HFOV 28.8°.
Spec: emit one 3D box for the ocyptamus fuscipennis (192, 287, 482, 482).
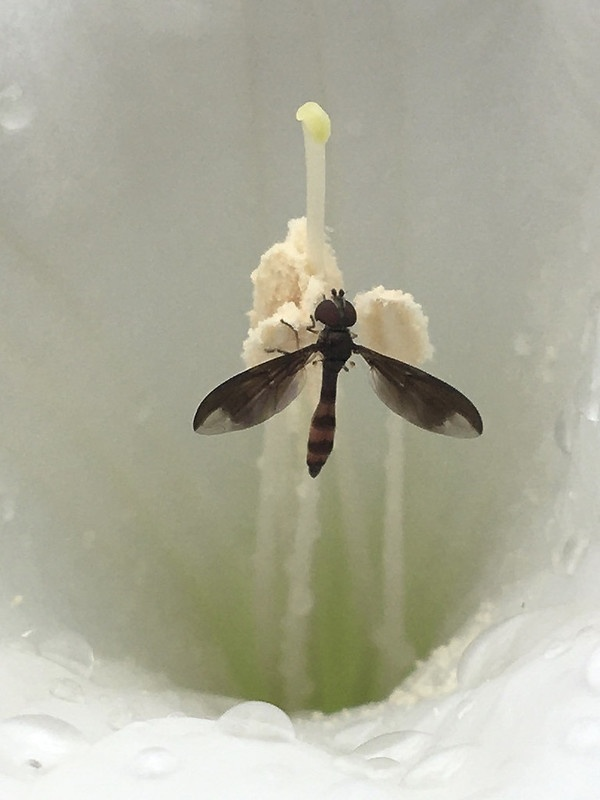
[{"bbox_3d":[0.037,-0.030,1.354,0.361,0.195,0.075,2,7,-5],"label":"ocyptamus fuscipennis"}]
